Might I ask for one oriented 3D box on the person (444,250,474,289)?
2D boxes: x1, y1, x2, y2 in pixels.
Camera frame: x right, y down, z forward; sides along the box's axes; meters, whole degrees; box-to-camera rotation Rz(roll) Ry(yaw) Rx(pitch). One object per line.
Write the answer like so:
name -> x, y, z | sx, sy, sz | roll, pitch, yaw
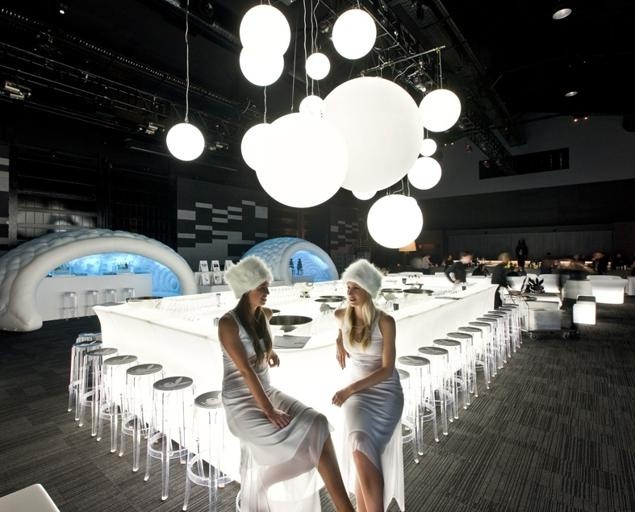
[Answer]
person -> 3.188, 0.290, 8.949 | 0.399, 1.416, 0.586 | -1, 7, 11
